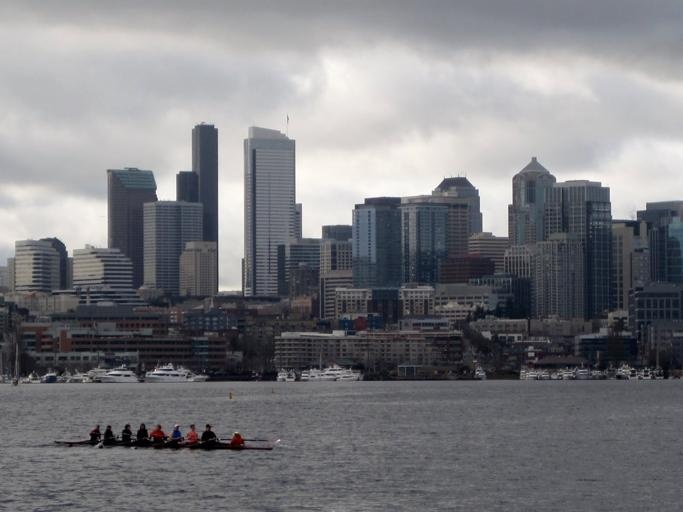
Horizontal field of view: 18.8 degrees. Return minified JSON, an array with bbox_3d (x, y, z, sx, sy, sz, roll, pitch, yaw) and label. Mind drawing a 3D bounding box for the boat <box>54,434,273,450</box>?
[{"bbox_3d":[-25.293,26.162,292.469,19.532,1.334,2.732,0,-7,4],"label":"boat"}]
